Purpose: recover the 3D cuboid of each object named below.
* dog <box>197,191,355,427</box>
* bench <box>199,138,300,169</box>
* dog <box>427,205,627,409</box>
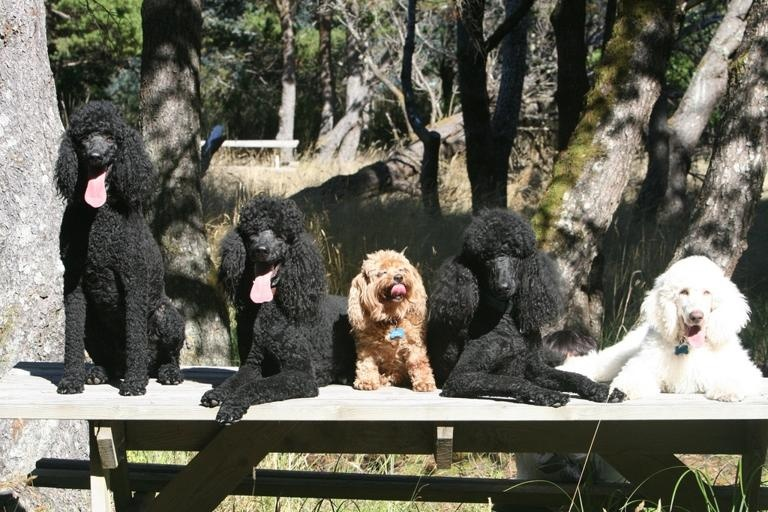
[{"bbox_3d":[-0.944,0.402,11.864,1.262,2.059,2.386,6,9,29],"label":"dog"},{"bbox_3d":[-2.284,-1.972,21.725,1.279,0.481,2.444,1,11,-6],"label":"bench"},{"bbox_3d":[1.248,0.503,11.438,1.253,1.865,2.119,0,1,-36],"label":"dog"}]
